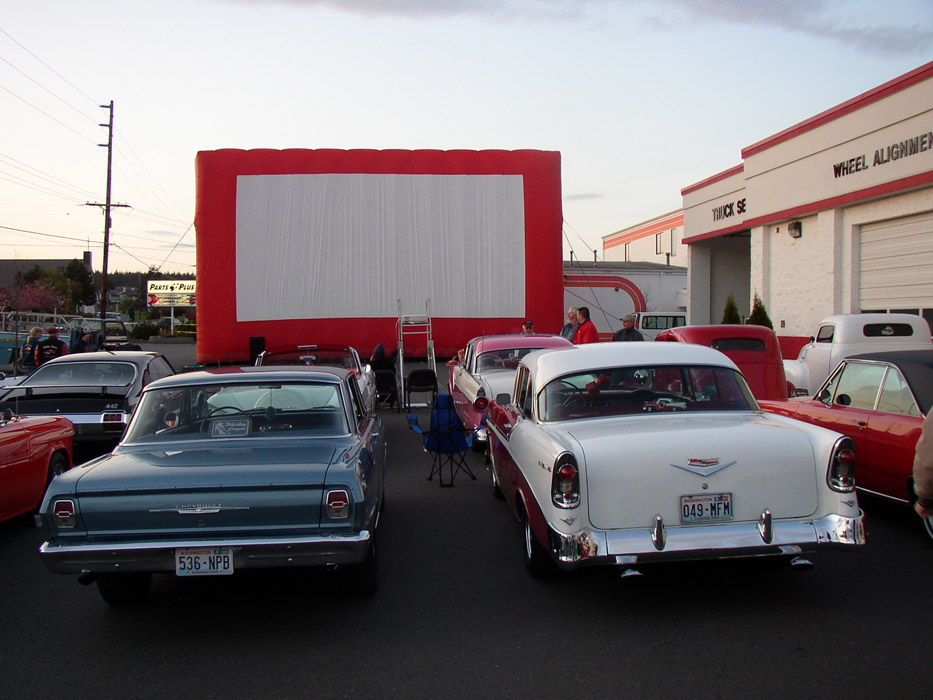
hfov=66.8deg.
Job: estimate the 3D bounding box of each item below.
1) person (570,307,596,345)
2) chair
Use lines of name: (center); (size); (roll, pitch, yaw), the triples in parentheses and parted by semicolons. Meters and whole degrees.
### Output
person: (2.314, -0.451, 14.201); (0.543, 1.016, 1.264); (2, 0, 8)
chair: (-0.419, 1.133, 9.857); (1.153, 1.570, 1.097); (-2, -2, -8)
